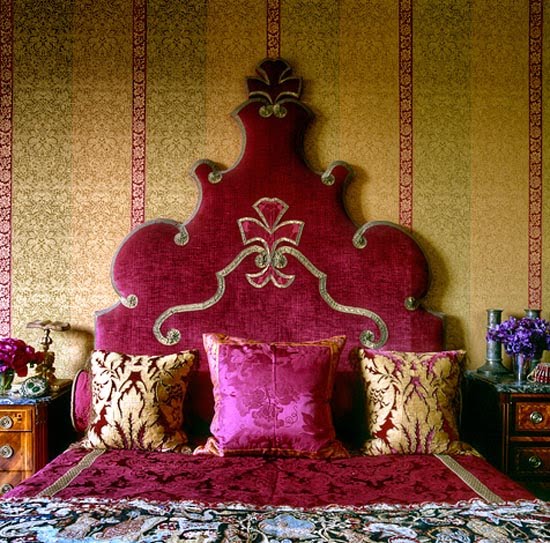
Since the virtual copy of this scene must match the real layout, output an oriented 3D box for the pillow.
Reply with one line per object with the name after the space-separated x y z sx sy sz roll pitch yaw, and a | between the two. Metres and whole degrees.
0.015 0.524 2.934 1.606 0.442 0.375 1 7 -1 | pillow
